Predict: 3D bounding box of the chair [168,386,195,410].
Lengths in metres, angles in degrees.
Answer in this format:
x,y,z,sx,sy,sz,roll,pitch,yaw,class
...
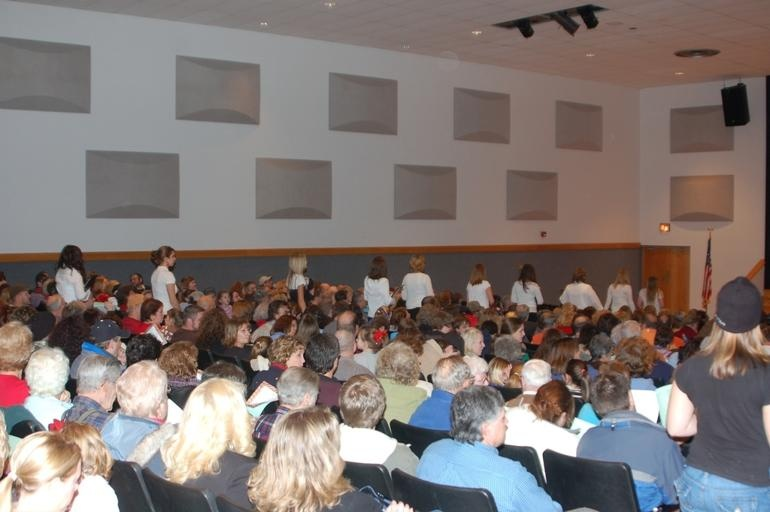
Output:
x,y,z,sx,sy,sz,roll,pitch,yaw,class
-1.570,1.080,4.554,0.180,0.147,0.340,2,-2,-19,chair

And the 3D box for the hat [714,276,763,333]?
x,y,z,sx,sy,sz,roll,pitch,yaw,class
1.857,0.254,3.106,0.291,0.292,0.176,2,-2,-24,hat

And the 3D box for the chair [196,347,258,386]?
x,y,z,sx,sy,sz,roll,pitch,yaw,class
-1.557,1.088,5.854,0.415,0.275,0.864,2,-2,-27,chair

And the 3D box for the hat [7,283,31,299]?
x,y,z,sx,sy,sz,roll,pitch,yaw,class
-4.903,0.497,7.922,0.192,0.081,0.258,5,10,6,hat

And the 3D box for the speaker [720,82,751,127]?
x,y,z,sx,sy,sz,roll,pitch,yaw,class
8.084,-3.488,13.742,0.483,0.844,0.452,3,-2,-40,speaker

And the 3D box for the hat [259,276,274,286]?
x,y,z,sx,sy,sz,roll,pitch,yaw,class
-2.073,0.419,10.302,0.242,0.133,0.190,-23,-10,27,hat

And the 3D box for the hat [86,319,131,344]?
x,y,z,sx,sy,sz,roll,pitch,yaw,class
-2.565,0.723,5.502,0.258,0.154,0.188,-7,18,-28,hat
